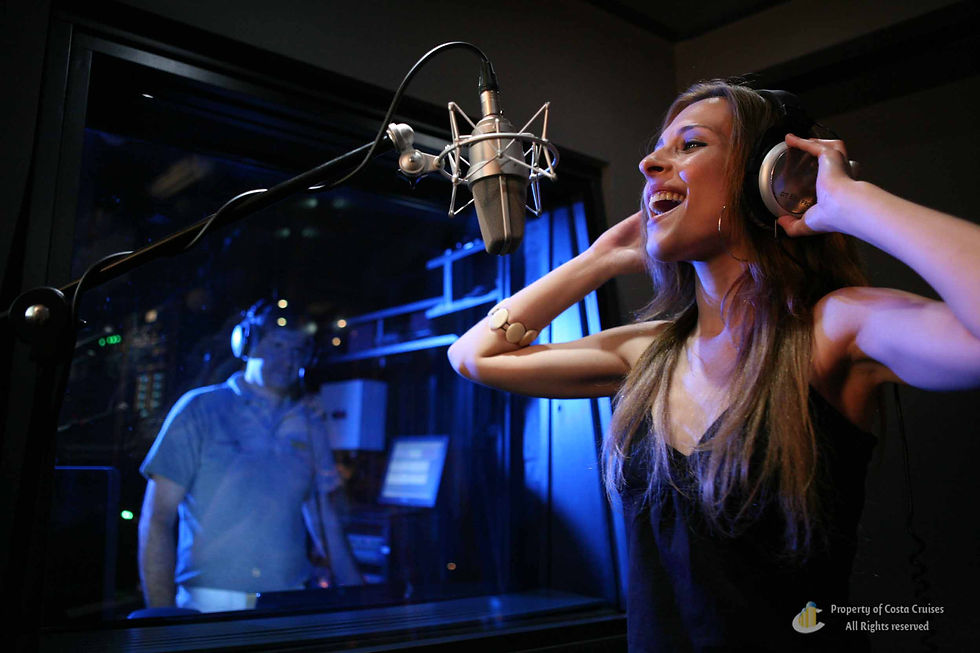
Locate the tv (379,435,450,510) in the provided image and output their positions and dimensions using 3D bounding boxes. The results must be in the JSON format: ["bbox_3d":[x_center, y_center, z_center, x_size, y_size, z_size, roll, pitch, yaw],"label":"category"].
[{"bbox_3d":[-0.294,0.501,2.752,0.256,0.275,0.210,2,-27,-18],"label":"tv"}]

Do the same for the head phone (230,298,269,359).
[{"bbox_3d":[-0.776,0.008,2.511,0.062,0.170,0.121,19,12,-45],"label":"head phone"}]

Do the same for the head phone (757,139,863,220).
[{"bbox_3d":[0.747,-0.369,1.895,0.080,0.185,0.236,-4,33,-11],"label":"head phone"}]

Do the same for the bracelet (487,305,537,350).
[{"bbox_3d":[0.063,0.000,2.148,0.126,0.093,0.042,36,-5,3],"label":"bracelet"}]

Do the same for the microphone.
[{"bbox_3d":[0.017,-0.354,1.716,0.129,0.380,0.111,-3,-11,23],"label":"microphone"}]
